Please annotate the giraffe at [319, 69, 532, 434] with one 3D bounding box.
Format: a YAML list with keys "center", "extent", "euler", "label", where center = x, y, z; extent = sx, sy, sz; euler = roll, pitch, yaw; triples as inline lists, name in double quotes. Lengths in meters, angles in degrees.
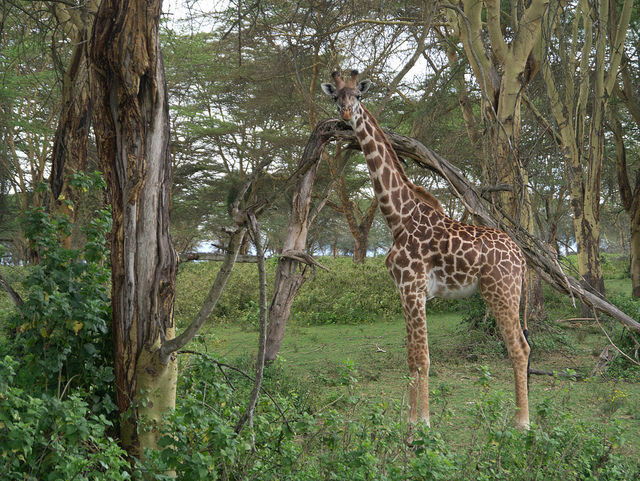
- center: [1.628, 0.074, 7.784]
  extent: [2.197, 4.354, 4.407]
  euler: [0, -3, 21]
  label: "giraffe"
